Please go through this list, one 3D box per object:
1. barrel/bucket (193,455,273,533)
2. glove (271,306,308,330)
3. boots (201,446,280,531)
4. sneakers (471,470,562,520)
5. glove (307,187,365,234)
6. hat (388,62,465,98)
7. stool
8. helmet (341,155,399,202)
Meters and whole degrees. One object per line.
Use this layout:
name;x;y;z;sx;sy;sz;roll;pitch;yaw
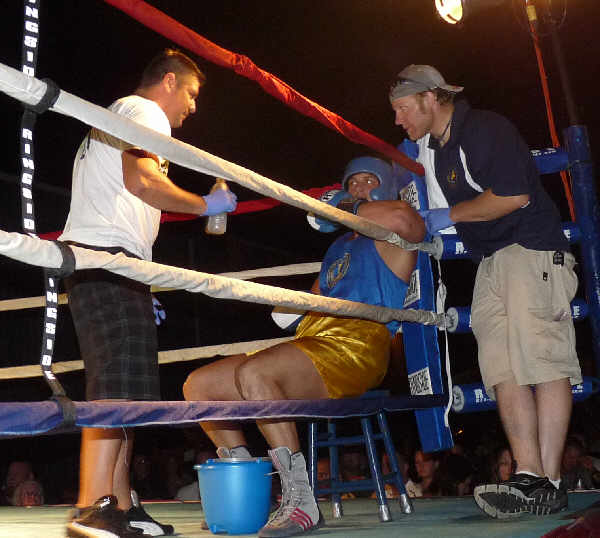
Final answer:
barrel/bucket;-0.237;0.776;2.238;0.365;0.234;0.263;8;-23;-22
glove;-0.048;0.227;2.883;0.120;0.097;0.119;24;-6;21
boots;-0.224;0.784;2.162;0.253;0.202;0.296;-13;-24;31
sneakers;0.776;0.801;2.242;0.387;0.114;0.157;0;13;-6
glove;0.156;-0.275;2.882;0.260;0.178;0.082;-24;-37;-24
hat;0.586;-0.855;2.839;0.293;0.108;0.172;-6;5;10
stool;0.214;0.875;2.824;0.492;0.475;0.462;-13;-10;31
helmet;0.378;-0.456;3.124;0.223;0.204;0.304;1;4;31
